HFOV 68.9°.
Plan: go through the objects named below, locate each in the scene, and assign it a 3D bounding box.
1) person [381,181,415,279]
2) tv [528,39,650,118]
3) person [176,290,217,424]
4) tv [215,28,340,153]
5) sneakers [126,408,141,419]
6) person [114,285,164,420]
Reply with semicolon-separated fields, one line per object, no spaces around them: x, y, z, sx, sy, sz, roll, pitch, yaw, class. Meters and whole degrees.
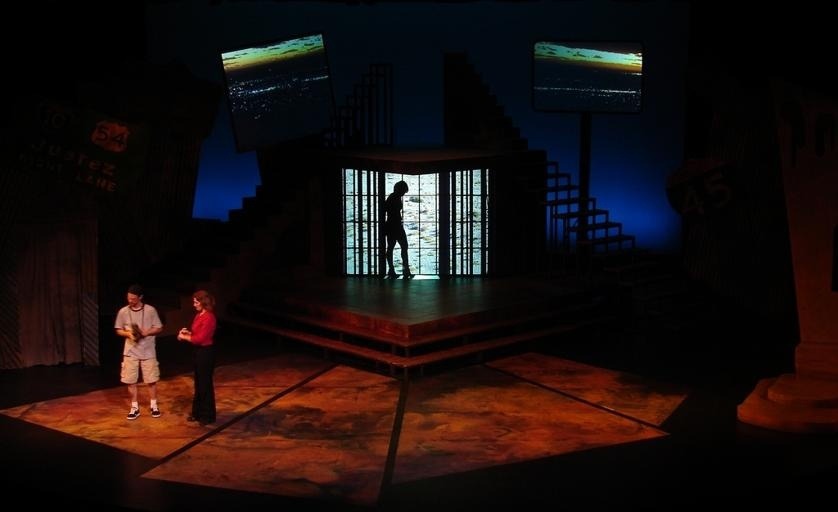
-0.403;-0.511;11.776;0.521;1.893;0.385;0;2;-1;person
3.161;-3.380;11.469;1.994;1.376;0.268;0;2;12;tv
-2.854;1.308;7.914;0.423;1.736;0.478;0;2;-17;person
-2.874;-3.203;12.131;3.029;1.923;0.292;-18;22;-36;tv
-3.799;2.091;8.106;0.098;0.078;0.221;1;1;0;sneakers
-3.825;1.261;8.316;0.531;1.767;0.977;-1;2;-25;person
